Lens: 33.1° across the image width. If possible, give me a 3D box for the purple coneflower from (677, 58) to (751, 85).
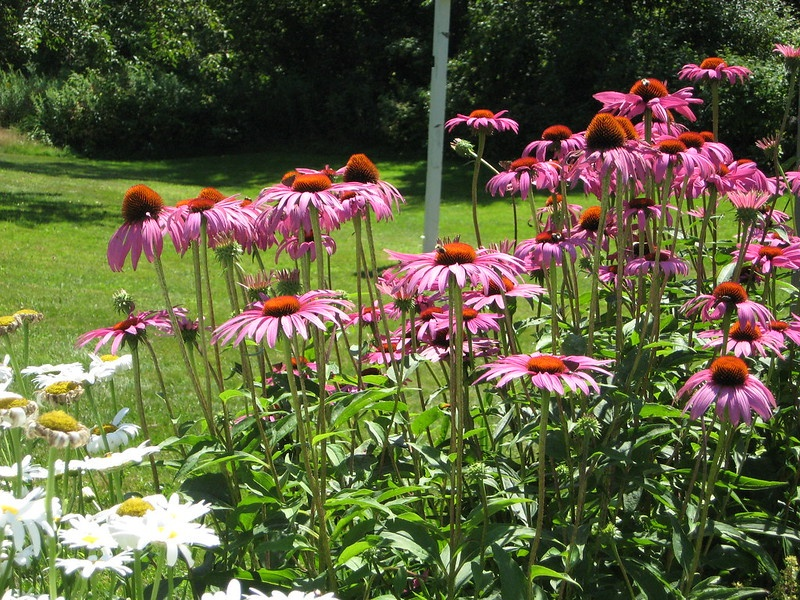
[{"bbox_3d":[3.198,-2.080,12.660,0.481,0.185,0.483,3,21,4],"label":"purple coneflower"}]
